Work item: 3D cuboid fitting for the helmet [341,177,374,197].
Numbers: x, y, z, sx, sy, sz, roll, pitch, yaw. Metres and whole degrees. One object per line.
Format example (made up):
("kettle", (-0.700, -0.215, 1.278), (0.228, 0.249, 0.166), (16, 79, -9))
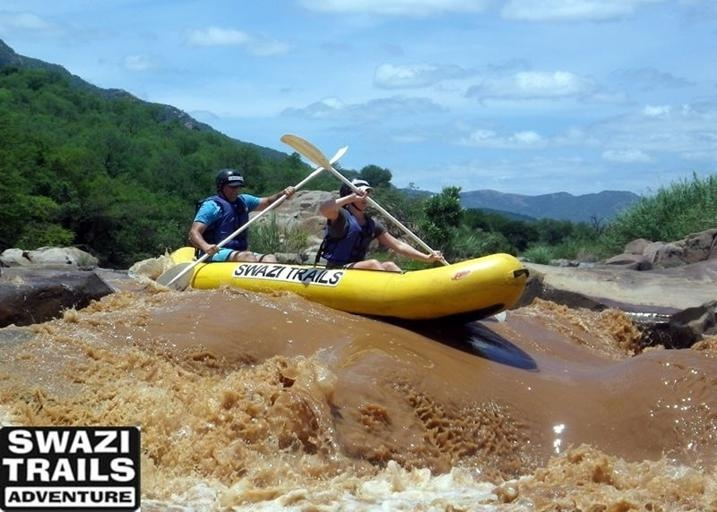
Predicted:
("helmet", (-0.084, -1.091, 9.456), (0.472, 0.244, 0.296), (-24, 0, 30))

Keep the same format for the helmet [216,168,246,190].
("helmet", (-2.523, -1.481, 10.821), (0.488, 0.253, 0.365), (-2, -1, 36))

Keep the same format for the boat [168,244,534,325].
("boat", (-0.284, 0.500, 9.156), (5.962, 1.106, 1.821), (0, -12, 30))
